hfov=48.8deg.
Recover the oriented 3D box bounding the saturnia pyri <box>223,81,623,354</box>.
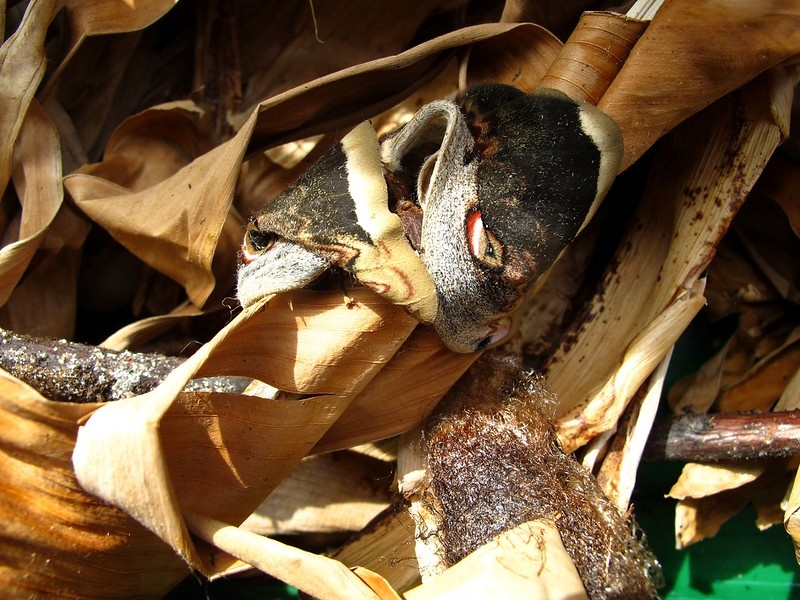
[{"bbox_3d":[0.061,-0.079,1.239,0.442,0.233,0.318,-26,67,-6],"label":"saturnia pyri"}]
